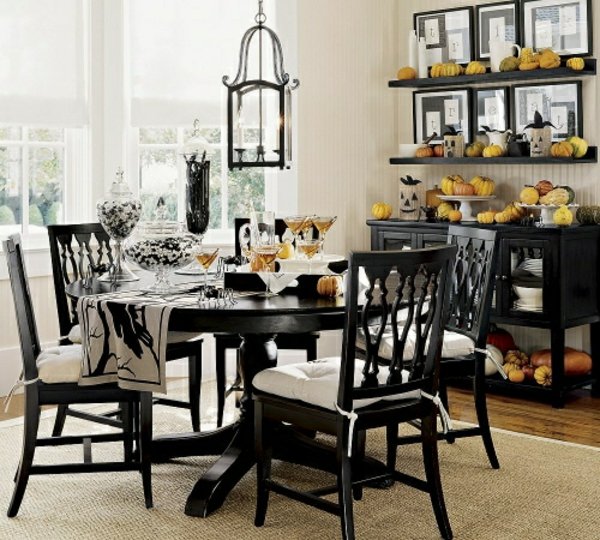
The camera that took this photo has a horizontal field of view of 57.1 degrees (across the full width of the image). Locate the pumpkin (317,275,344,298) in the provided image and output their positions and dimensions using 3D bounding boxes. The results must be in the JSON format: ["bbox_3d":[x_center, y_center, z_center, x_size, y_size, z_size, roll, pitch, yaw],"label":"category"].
[{"bbox_3d":[0.107,0.060,1.950,0.070,0.078,0.074,1,1,-22],"label":"pumpkin"}]

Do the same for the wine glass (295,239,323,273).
[{"bbox_3d":[0.032,-0.051,2.127,0.106,0.145,0.121,0,-1,-4],"label":"wine glass"}]

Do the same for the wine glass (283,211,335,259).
[{"bbox_3d":[0.042,-0.127,2.306,0.197,0.227,0.201,0,2,-1],"label":"wine glass"}]

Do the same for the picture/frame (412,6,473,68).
[{"bbox_3d":[1.039,-1.657,3.964,0.483,0.465,0.036,5,8,41],"label":"picture/frame"}]

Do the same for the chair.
[{"bbox_3d":[-0.037,0.400,1.953,1.145,1.033,0.700,3,10,23],"label":"chair"}]

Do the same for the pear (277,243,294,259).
[{"bbox_3d":[-0.060,-0.071,2.163,0.052,0.057,0.057,-4,11,18],"label":"pear"}]

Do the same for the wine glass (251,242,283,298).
[{"bbox_3d":[-0.117,-0.012,1.973,0.135,0.184,0.147,0,0,-3],"label":"wine glass"}]

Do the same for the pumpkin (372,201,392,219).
[{"bbox_3d":[0.602,-0.436,4.096,0.124,0.146,0.128,-4,6,-35],"label":"pumpkin"}]

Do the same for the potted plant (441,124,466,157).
[{"bbox_3d":[1.064,-0.883,3.889,0.199,0.310,0.193,0,4,9],"label":"potted plant"}]

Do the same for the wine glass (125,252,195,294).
[{"bbox_3d":[-0.538,0.009,2.141,0.169,0.109,0.176,0,-3,-6],"label":"wine glass"}]

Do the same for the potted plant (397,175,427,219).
[{"bbox_3d":[0.808,-0.525,4.005,0.176,0.311,0.196,1,10,14],"label":"potted plant"}]

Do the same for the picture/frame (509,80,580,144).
[{"bbox_3d":[1.597,-1.019,3.566,0.030,0.391,0.404,-8,10,-43],"label":"picture/frame"}]

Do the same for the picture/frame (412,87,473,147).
[{"bbox_3d":[1.046,-1.109,4.001,0.428,0.416,0.033,4,8,40],"label":"picture/frame"}]
